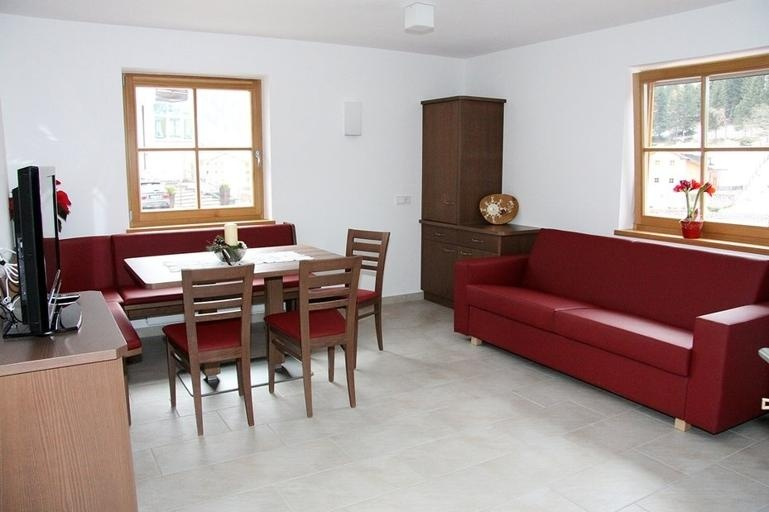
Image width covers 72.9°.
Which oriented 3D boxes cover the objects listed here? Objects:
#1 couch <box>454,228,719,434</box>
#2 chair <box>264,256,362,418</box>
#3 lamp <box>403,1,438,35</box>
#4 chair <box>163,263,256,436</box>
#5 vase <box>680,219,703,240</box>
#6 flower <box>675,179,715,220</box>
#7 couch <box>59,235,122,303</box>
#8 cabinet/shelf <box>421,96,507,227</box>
[{"bbox_3d":[1.836,0.435,4.476,0.996,1.089,2.205,-13,16,-41],"label":"couch"},{"bbox_3d":[-0.561,0.508,4.136,0.815,1.173,1.054,-4,13,-11],"label":"chair"},{"bbox_3d":[0.318,-2.080,4.576,0.226,0.218,0.219,-1,1,-34],"label":"lamp"},{"bbox_3d":[-1.312,0.581,3.866,0.645,1.173,0.880,-8,14,-24],"label":"chair"},{"bbox_3d":[2.762,-0.247,4.694,0.183,0.141,0.174,2,2,-7],"label":"vase"},{"bbox_3d":[2.825,-0.496,4.781,0.355,0.406,0.394,0,5,32],"label":"flower"},{"bbox_3d":[-2.772,0.045,4.914,0.701,0.645,0.548,-4,8,-38],"label":"couch"},{"bbox_3d":[0.887,-1.121,6.079,1.003,1.424,0.629,1,13,12],"label":"cabinet/shelf"}]
